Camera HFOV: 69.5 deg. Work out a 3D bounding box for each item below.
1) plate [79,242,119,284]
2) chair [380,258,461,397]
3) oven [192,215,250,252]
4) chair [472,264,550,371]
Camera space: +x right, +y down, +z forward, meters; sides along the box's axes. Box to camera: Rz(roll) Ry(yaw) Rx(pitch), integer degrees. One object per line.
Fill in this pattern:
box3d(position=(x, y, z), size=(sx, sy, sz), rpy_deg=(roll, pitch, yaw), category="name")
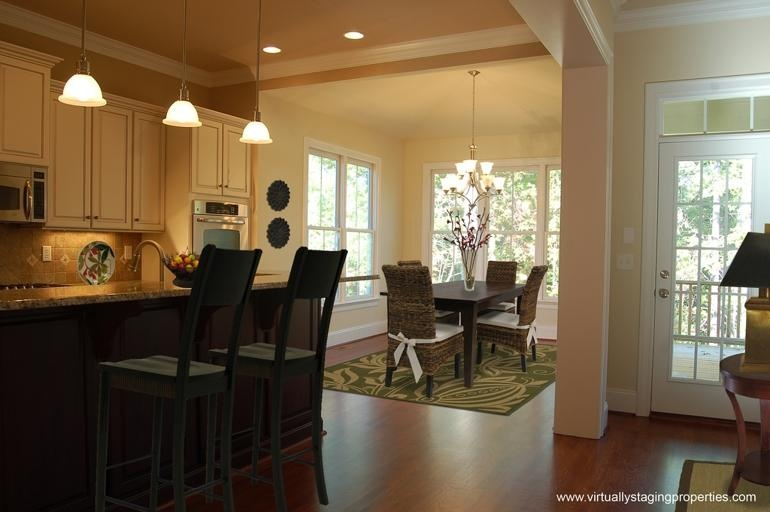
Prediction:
box3d(position=(-2.641, 0.070, 5.103), size=(0.098, 0.425, 0.418), rpy_deg=(7, 5, 41), category="plate")
box3d(position=(0.371, 0.728, 5.653), size=(0.778, 1.302, 0.522), rpy_deg=(0, 7, 0), category="chair")
box3d(position=(-1.891, -0.173, 6.074), size=(0.395, 0.481, 0.742), rpy_deg=(-2, -1, 32), category="oven")
box3d(position=(1.497, 0.705, 6.609), size=(0.849, 1.124, 0.779), rpy_deg=(1, 1, 41), category="chair")
